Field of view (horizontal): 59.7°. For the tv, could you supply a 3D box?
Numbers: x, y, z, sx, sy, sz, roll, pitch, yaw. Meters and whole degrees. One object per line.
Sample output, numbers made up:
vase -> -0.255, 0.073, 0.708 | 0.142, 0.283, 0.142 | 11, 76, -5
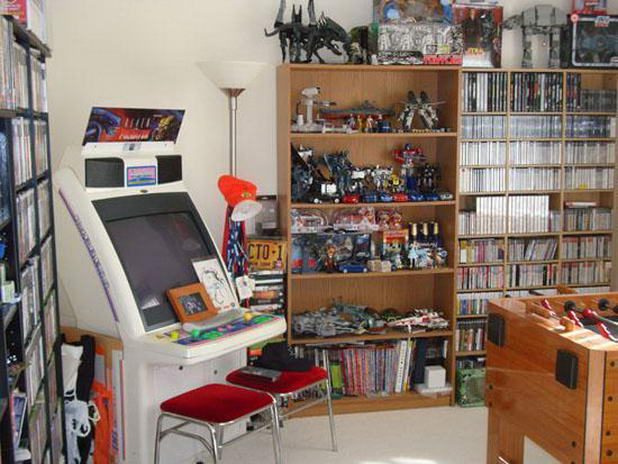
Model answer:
tv -> -0.916, 0.201, 3.166 | 0.416, 0.748, 0.669 | -18, 0, 35

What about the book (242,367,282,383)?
book -> -0.298, 0.873, 3.338 | 0.152, 0.034, 0.082 | 6, 3, 27

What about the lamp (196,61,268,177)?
lamp -> -0.563, -0.807, 3.896 | 0.457, 0.803, 0.624 | -2, 10, -10

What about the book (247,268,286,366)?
book -> -0.316, 0.623, 4.053 | 0.313, 0.636, 0.292 | -1, 10, -7

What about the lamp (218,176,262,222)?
lamp -> -0.458, -0.216, 3.586 | 0.204, 0.305, 0.241 | -8, 13, -39

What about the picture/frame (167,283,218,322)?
picture/frame -> -0.704, 0.422, 3.175 | 0.059, 0.177, 0.204 | -35, -13, 38
